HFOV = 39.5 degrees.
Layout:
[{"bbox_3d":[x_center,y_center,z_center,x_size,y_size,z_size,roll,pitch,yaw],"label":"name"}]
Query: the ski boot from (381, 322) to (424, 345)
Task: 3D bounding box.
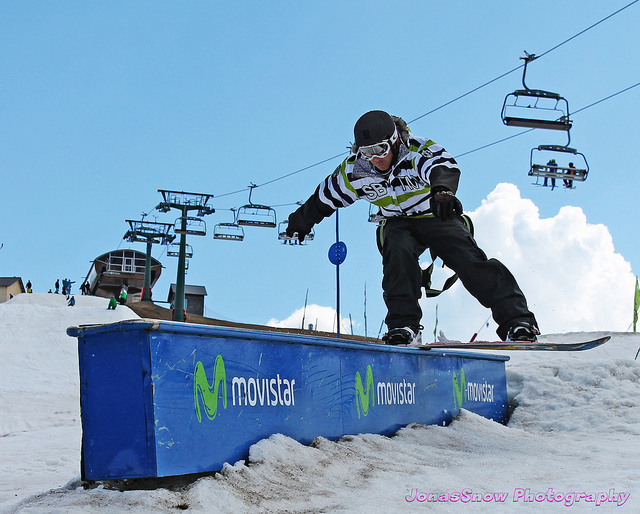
[{"bbox_3d":[0.861,0.793,9.214,0.382,0.266,0.429,5,5,1],"label":"ski boot"}]
